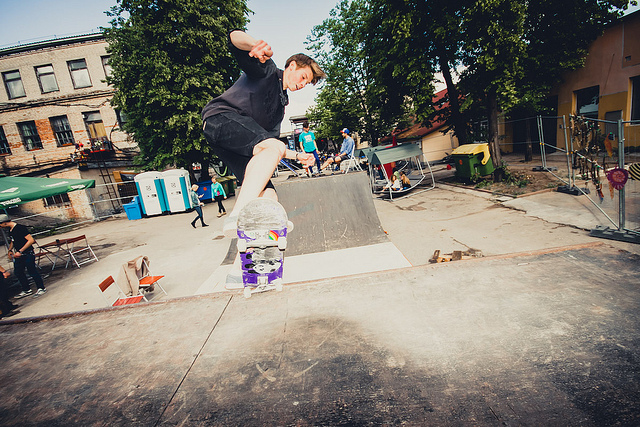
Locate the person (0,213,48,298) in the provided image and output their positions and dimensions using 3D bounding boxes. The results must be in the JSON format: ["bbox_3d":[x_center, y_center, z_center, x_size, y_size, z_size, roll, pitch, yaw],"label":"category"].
[{"bbox_3d":[-7.835,1.084,9.289,0.701,1.752,1.387,-18,13,-39],"label":"person"}]

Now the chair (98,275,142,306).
[{"bbox_3d":[-4.214,1.652,7.509,0.554,0.781,0.409,7,33,10],"label":"chair"}]

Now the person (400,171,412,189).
[{"bbox_3d":[3.832,-1.423,15.854,0.355,0.647,1.433,-6,10,16],"label":"person"}]

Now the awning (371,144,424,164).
[{"bbox_3d":[3.216,-2.515,14.960,2.045,0.575,0.809,-14,11,-31],"label":"awning"}]

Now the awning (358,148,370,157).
[{"bbox_3d":[2.250,-3.112,18.147,0.461,0.197,0.445,-4,4,4],"label":"awning"}]

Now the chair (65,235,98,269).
[{"bbox_3d":[-8.193,1.365,12.193,0.849,0.813,0.536,29,29,26],"label":"chair"}]
